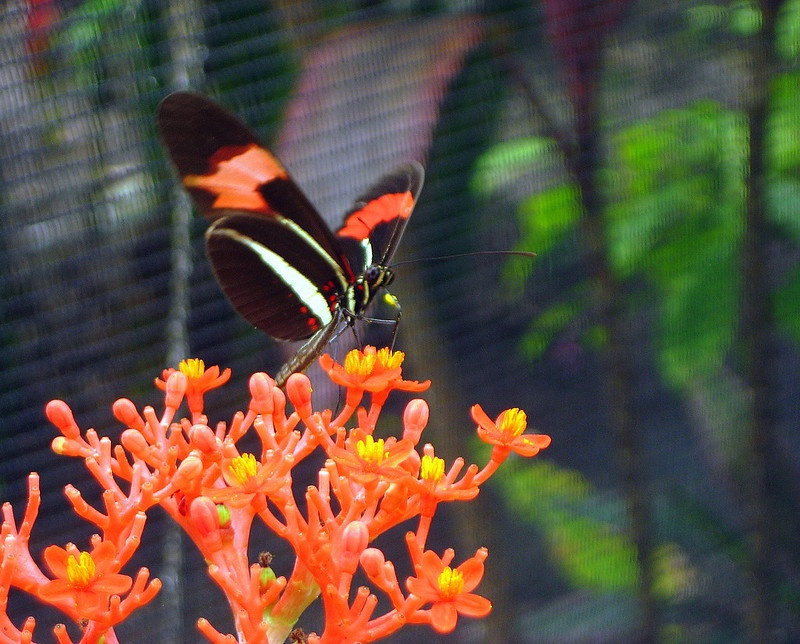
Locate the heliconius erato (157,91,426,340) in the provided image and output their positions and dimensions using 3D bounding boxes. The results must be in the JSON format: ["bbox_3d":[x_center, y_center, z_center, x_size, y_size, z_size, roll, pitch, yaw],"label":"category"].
[{"bbox_3d":[-0.138,-0.130,2.196,0.341,0.411,0.438,-3,-12,20],"label":"heliconius erato"}]
